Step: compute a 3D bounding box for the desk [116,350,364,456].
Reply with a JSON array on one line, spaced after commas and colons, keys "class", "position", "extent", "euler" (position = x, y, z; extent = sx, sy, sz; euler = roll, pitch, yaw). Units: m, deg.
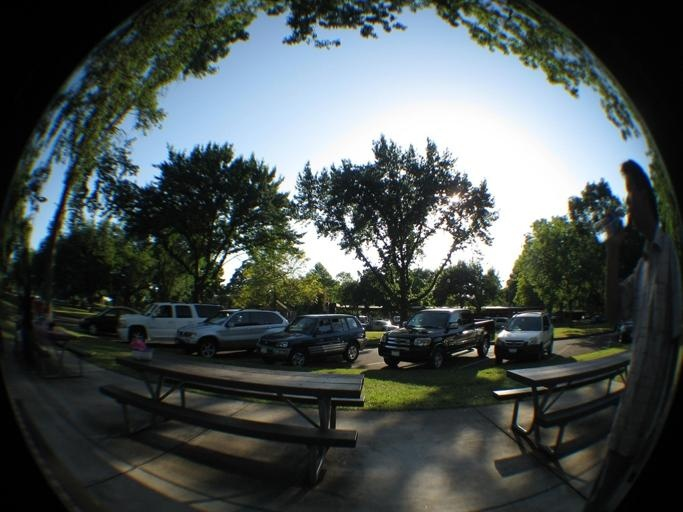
[{"class": "desk", "position": [-0.866, 1.182, 3.736], "extent": [1.132, 0.432, 0.314], "euler": [4, 18, 6]}]

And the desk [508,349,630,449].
[{"class": "desk", "position": [1.997, 1.126, 3.886], "extent": [1.252, 0.517, 0.420], "euler": [-1, -3, -20]}]

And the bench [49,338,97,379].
[{"class": "bench", "position": [-2.192, 0.811, 3.820], "extent": [0.348, 0.324, 0.088], "euler": [1, -3, 13]}]
